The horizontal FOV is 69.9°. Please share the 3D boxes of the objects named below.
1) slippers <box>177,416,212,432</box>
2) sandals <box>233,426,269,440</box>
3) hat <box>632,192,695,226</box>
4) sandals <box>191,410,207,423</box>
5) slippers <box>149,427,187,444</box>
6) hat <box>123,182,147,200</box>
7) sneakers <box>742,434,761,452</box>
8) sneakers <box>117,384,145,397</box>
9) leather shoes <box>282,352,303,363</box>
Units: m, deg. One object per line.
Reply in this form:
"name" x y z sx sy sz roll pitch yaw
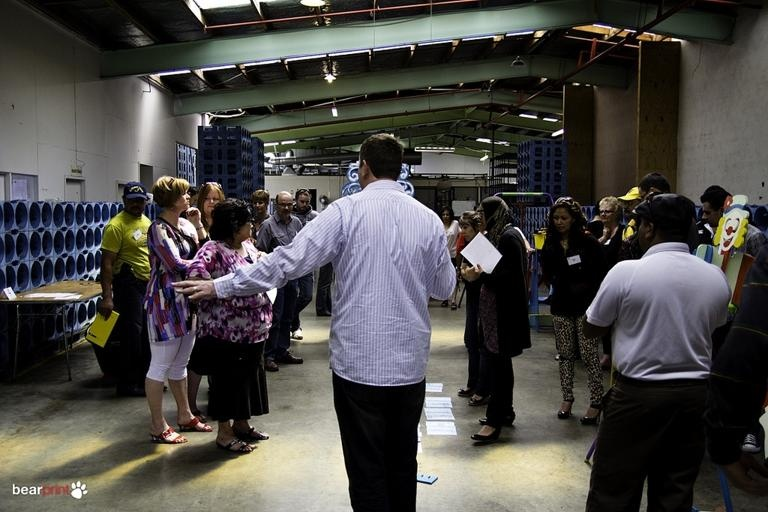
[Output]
"slippers" -1.987 1.771 5.785 0.326 0.127 0.153 -1 -1 -2
"sandals" -1.345 1.794 5.581 0.362 0.108 0.131 0 1 3
"hat" 1.806 -0.308 3.549 0.356 0.183 0.231 2 7 15
"sandals" -1.998 1.752 6.001 0.221 0.089 0.073 -3 -1 24
"slippers" -2.138 1.761 5.471 0.299 0.122 0.160 -1 2 8
"hat" -2.986 -0.772 6.583 0.212 0.151 0.285 3 -1 -32
"sneakers" 3.459 1.719 5.158 0.135 0.178 0.270 6 9 35
"sneakers" -3.071 1.635 6.741 0.400 0.152 0.132 0 4 -3
"leather shoes" -1.348 1.486 8.055 0.360 0.151 0.130 0 -1 2
